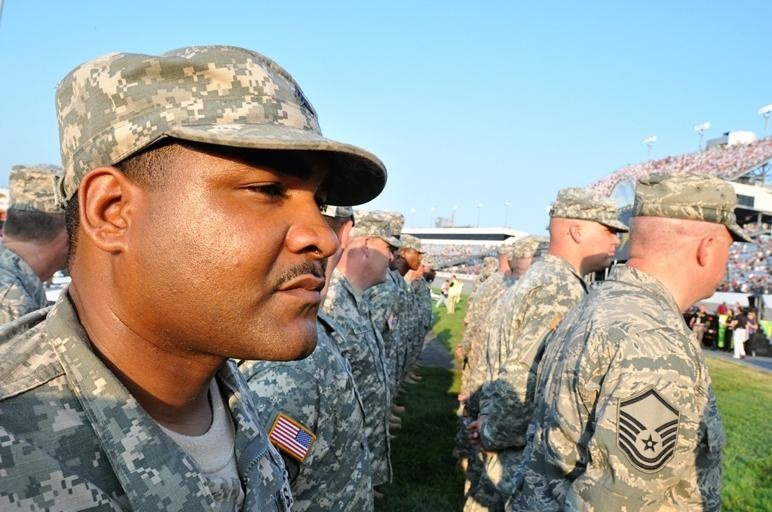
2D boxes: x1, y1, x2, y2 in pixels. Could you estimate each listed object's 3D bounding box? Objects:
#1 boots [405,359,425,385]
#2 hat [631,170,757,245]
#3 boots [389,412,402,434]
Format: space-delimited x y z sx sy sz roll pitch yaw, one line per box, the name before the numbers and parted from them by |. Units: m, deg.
boots | 0.572 2.448 12.082 0.228 0.260 0.725 2 16 8
hat | 1.991 -0.321 3.836 0.646 0.330 0.438 5 2 18
boots | 0.113 2.414 8.480 0.128 0.256 0.370 0 2 26
